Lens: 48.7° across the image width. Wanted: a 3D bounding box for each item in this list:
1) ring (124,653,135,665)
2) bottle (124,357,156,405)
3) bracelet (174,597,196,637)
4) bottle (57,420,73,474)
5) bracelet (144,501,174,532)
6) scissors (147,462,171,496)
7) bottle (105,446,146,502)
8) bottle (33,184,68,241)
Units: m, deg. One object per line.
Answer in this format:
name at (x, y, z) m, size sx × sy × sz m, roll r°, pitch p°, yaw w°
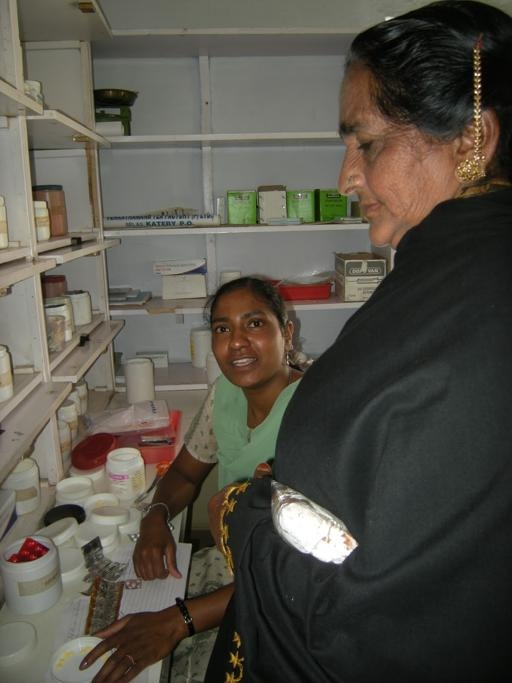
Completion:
ring at (-0.215, 0.535, 0.958) m, size 0.004 × 0.015 × 0.012 m, roll -20°, pitch -15°, yaw -1°
bottle at (-0.499, 0.170, 2.408) m, size 0.137 × 0.208 × 0.145 m, roll 2°, pitch 15°, yaw -1°
bracelet at (-0.134, 0.529, 1.085) m, size 0.015 × 0.058 × 0.059 m, roll -17°, pitch 17°, yaw -3°
bottle at (-0.560, 0.305, 1.660) m, size 0.032 × 0.136 × 0.143 m, roll -3°, pitch 7°, yaw -19°
bracelet at (-0.237, 0.416, 1.382) m, size 0.057 × 0.071 × 0.033 m, roll 6°, pitch 20°, yaw 13°
scissors at (-0.277, 0.380, 1.598) m, size 0.031 × 0.014 × 0.083 m, roll 1°, pitch 44°, yaw 41°
bottle at (-0.341, 0.352, 1.495) m, size 0.122 × 0.123 × 0.116 m, roll 0°, pitch 10°, yaw -6°
bottle at (-0.680, -0.433, 1.864) m, size 0.098 × 0.182 × 0.244 m, roll -3°, pitch 7°, yaw -20°
